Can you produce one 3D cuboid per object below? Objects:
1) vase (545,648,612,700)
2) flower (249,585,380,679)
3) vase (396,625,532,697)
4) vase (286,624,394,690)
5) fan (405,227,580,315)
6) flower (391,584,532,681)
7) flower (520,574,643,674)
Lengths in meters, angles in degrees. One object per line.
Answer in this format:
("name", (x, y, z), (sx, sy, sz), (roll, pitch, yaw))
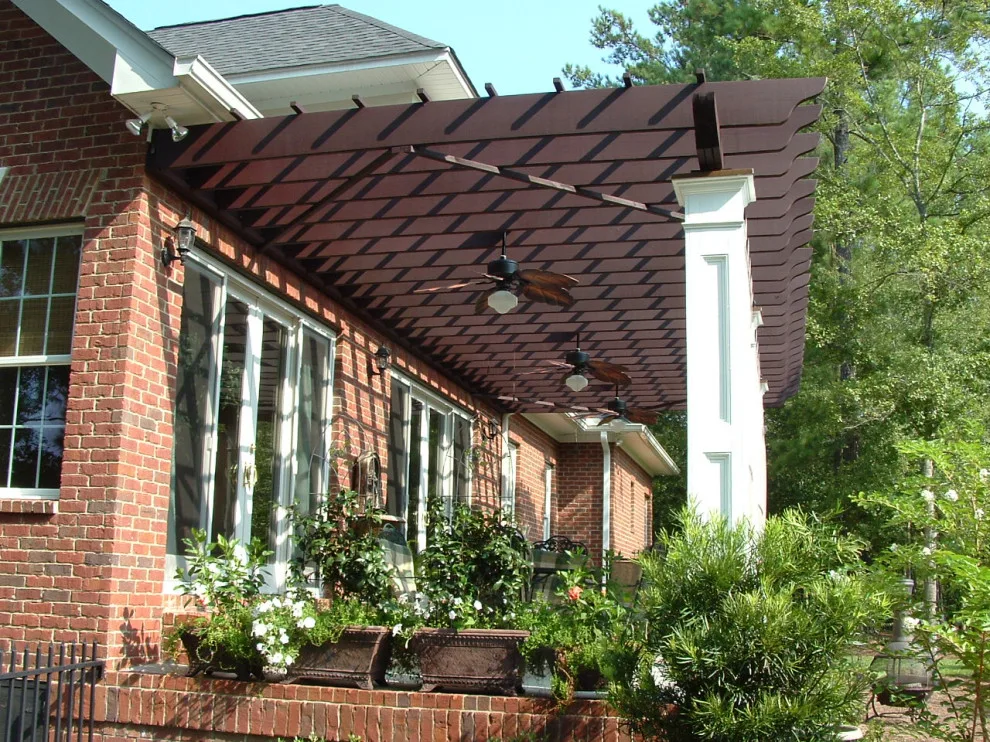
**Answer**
("vase", (0.620, 2.384, 10.203), (0.427, 0.327, 0.447), (0, -17, 9))
("flower", (-1.481, 2.095, 10.604), (0.994, 0.627, 0.941), (7, -7, -30))
("vase", (-0.239, 2.337, 10.735), (1.141, 0.527, 0.758), (4, -7, -5))
("vase", (-1.228, 2.310, 10.620), (0.695, 0.434, 0.464), (-5, -21, 23))
("fan", (0.084, -0.880, 12.014), (1.375, 0.715, 1.352), (0, -7, -4))
("flower", (-0.239, 2.149, 10.773), (0.935, 0.781, 1.046), (2, -6, 1))
("flower", (0.653, 1.996, 10.200), (0.765, 0.790, 0.795), (2, -6, 8))
